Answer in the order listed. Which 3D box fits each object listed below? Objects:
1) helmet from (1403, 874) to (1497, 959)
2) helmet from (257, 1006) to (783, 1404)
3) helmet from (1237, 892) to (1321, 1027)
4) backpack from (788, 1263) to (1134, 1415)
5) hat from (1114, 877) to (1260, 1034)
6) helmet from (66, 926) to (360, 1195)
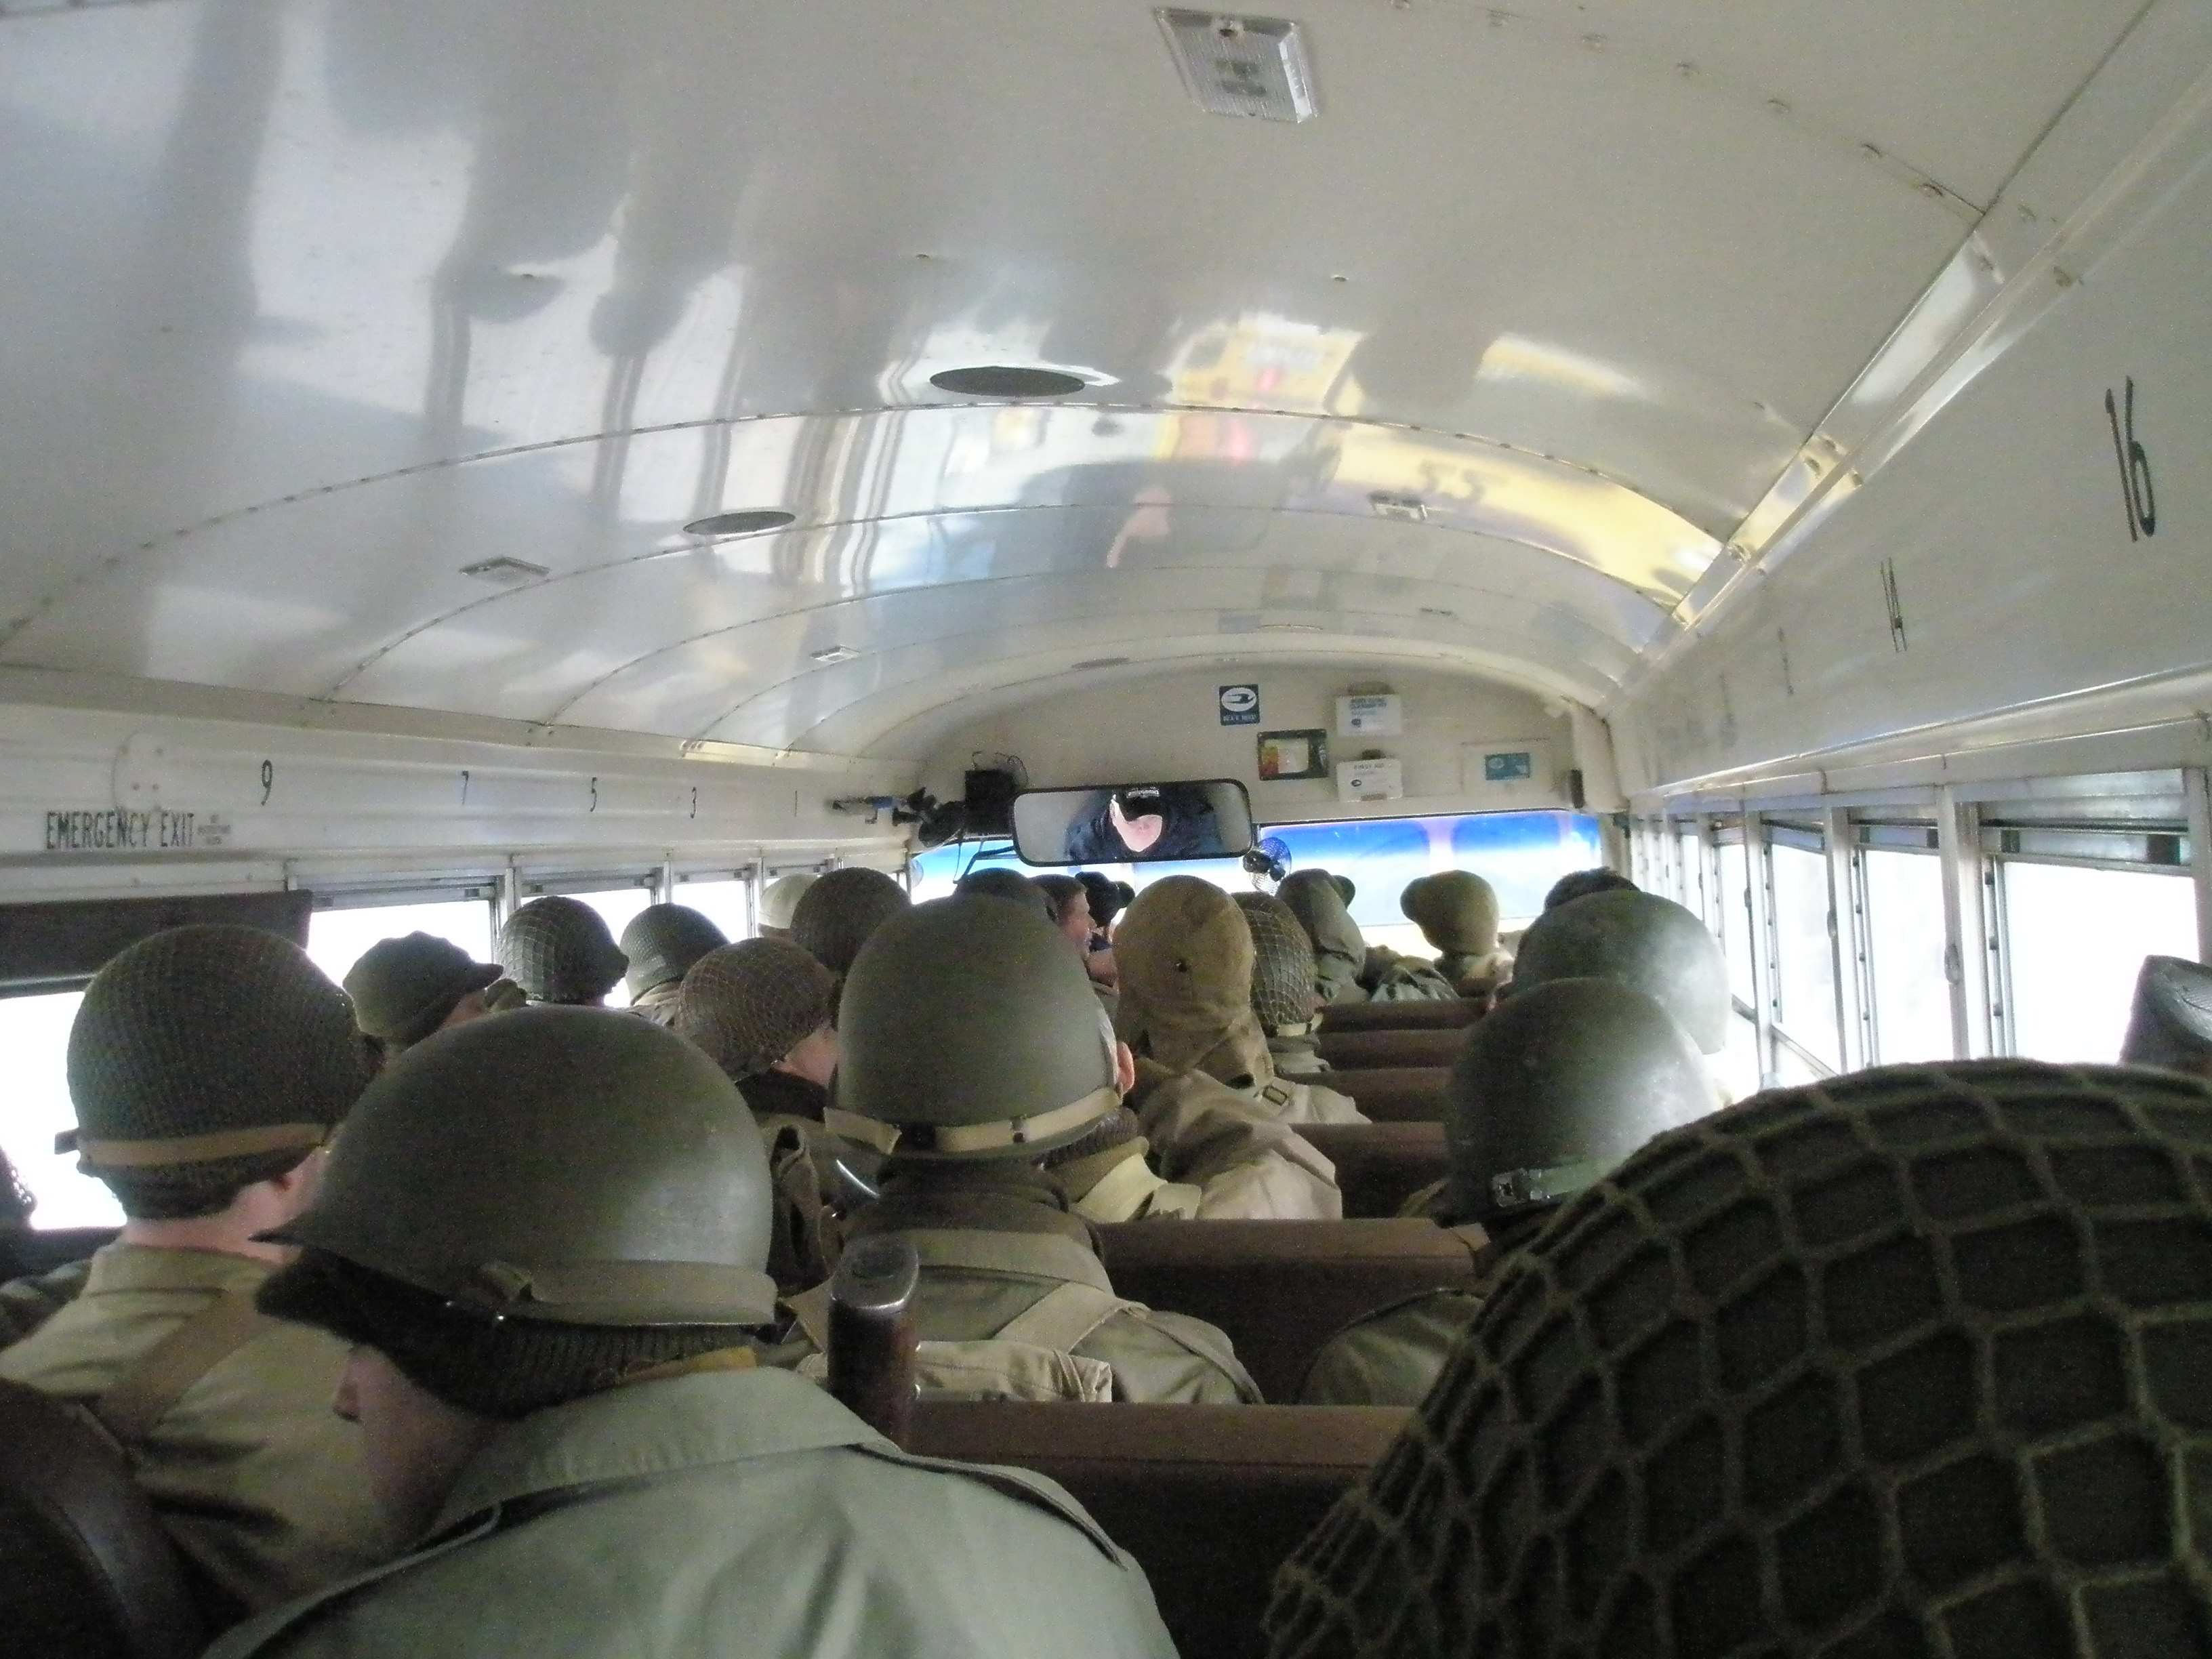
[{"bbox_3d":[2.144,0.490,9.065,0.441,0.508,0.566,-3,9,-6],"label":"helmet"},{"bbox_3d":[-0.694,0.457,1.863,0.580,0.456,0.525,2,-11,-2],"label":"helmet"},{"bbox_3d":[0.854,0.570,6.557,0.394,0.479,0.541,-12,8,17],"label":"helmet"},{"bbox_3d":[-0.269,0.963,2.706,0.429,0.149,0.425,4,-6,7],"label":"backpack"},{"bbox_3d":[0.257,0.510,5.806,0.501,0.650,0.641,3,-18,-21],"label":"hat"},{"bbox_3d":[-1.521,0.373,2.642,0.365,0.275,0.506,-2,11,0],"label":"helmet"}]
